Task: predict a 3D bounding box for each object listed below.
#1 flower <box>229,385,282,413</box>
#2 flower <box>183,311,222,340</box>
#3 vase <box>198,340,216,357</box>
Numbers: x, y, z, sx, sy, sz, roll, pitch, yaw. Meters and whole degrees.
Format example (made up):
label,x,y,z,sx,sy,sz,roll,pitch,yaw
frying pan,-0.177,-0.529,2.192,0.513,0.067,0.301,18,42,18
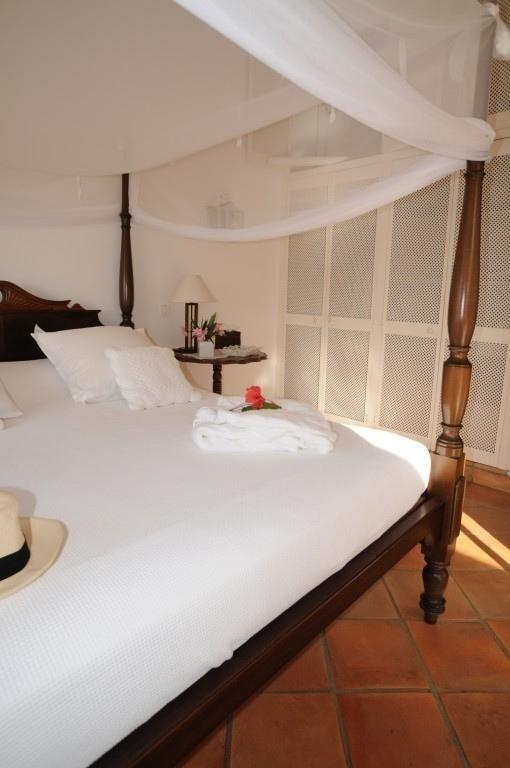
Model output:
label,x,y,z,sx,sy,sz,roll,pitch,yaw
flower,0.028,0.070,1.915,0.118,0.055,0.113,8,0,-42
flower,-0.309,-0.361,3.547,0.117,0.219,0.213,9,7,-37
vase,-0.312,-0.239,3.497,0.104,0.104,0.104,3,17,4
